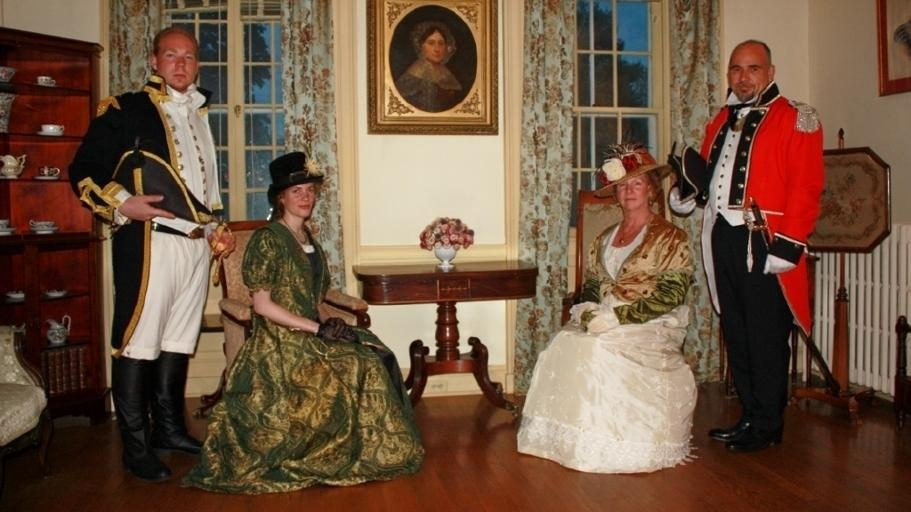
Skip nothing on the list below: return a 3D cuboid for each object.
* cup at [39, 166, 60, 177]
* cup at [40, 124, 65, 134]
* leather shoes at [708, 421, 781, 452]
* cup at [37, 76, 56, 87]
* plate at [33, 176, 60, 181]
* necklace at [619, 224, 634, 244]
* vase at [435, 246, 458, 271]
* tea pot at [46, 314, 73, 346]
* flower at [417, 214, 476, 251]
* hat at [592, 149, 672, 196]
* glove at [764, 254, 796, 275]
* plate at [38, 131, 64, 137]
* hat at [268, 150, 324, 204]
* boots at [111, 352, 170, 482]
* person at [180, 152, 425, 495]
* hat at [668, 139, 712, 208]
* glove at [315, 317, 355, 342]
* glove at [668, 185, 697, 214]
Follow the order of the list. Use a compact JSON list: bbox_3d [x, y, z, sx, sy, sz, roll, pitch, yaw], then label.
[{"bbox_3d":[-3.471,-0.722,6.752,0.137,0.066,0.087,-1,6,-18],"label":"cup"},{"bbox_3d":[-3.438,-1.071,6.716,0.104,0.046,0.118,0,1,37],"label":"cup"},{"bbox_3d":[2.296,1.427,6.266,0.365,0.143,0.242,1,2,-1],"label":"leather shoes"},{"bbox_3d":[-3.479,-1.484,6.703,0.137,0.094,0.205,-3,8,-27],"label":"cup"},{"bbox_3d":[-3.476,-0.659,6.712,0.182,0.038,0.053,0,7,-5],"label":"plate"},{"bbox_3d":[1.352,-0.161,6.256,0.039,0.140,0.143,21,11,-37],"label":"necklace"},{"bbox_3d":[-0.061,0.023,6.882,0.214,0.225,0.204,0,0,1],"label":"vase"},{"bbox_3d":[-3.397,0.642,6.744,0.255,0.293,0.205,5,-3,-44],"label":"tea pot"},{"bbox_3d":[-0.079,-0.208,6.935,0.339,0.204,0.324,-1,3,-13],"label":"flower"},{"bbox_3d":[1.391,-0.681,6.243,0.417,0.214,0.394,-2,-26,-31],"label":"hat"},{"bbox_3d":[2.469,0.074,6.023,0.189,0.146,0.081,0,9,-3],"label":"glove"},{"bbox_3d":[-3.442,-1.038,6.699,0.182,0.039,0.049,-3,8,-29],"label":"plate"},{"bbox_3d":[-1.245,-0.620,6.055,0.423,0.219,0.356,-23,4,-3],"label":"hat"},{"bbox_3d":[-2.362,1.217,5.912,0.448,0.919,0.217,0,7,-6],"label":"boots"},{"bbox_3d":[-1.130,0.480,5.867,1.598,2.466,0.579,0,7,-3],"label":"person"},{"bbox_3d":[1.877,-0.663,6.377,0.298,0.465,0.139,-42,26,-30],"label":"hat"},{"bbox_3d":[-0.874,0.554,5.829,0.226,0.074,0.175,5,3,21],"label":"glove"},{"bbox_3d":[1.850,-0.456,6.487,0.242,0.095,0.180,13,8,20],"label":"glove"}]
